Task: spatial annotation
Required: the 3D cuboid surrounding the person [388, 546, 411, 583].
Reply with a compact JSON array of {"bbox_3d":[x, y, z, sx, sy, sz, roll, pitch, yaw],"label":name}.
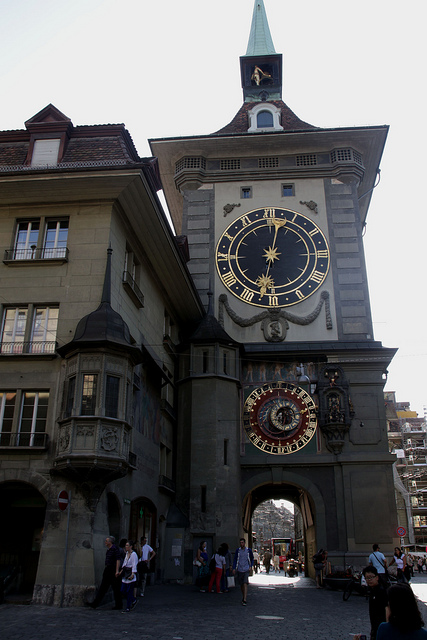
[{"bbox_3d":[7.044,9.275,19.487,0.571,1.282,3.923,-8,-24,17],"label":"person"}]
